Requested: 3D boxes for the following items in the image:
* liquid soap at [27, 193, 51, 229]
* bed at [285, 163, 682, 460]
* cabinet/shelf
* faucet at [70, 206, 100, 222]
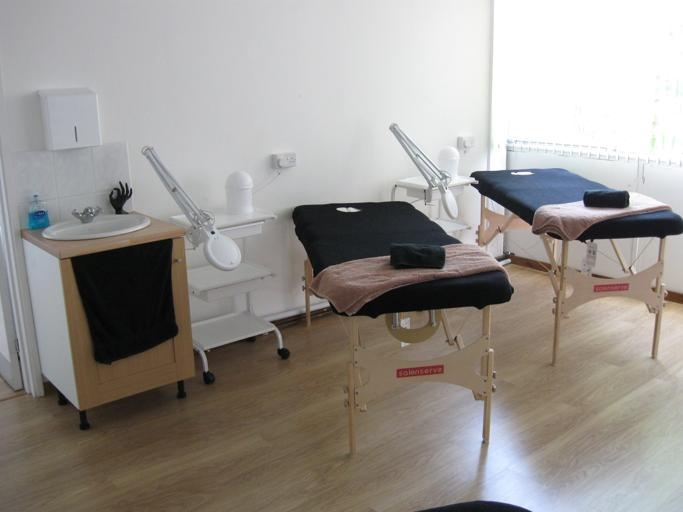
[{"bbox_3d":[-1.547,-0.224,2.755,0.063,0.171,0.101,23,26,31],"label":"liquid soap"},{"bbox_3d":[0.676,0.180,3.037,1.969,0.998,1.303,-14,20,-28],"label":"bed"},{"bbox_3d":[-1.061,0.186,3.141,0.888,1.258,0.959,-14,20,-41],"label":"cabinet/shelf"},{"bbox_3d":[-1.349,-0.228,2.840,0.098,0.049,0.100,8,13,38],"label":"faucet"}]
